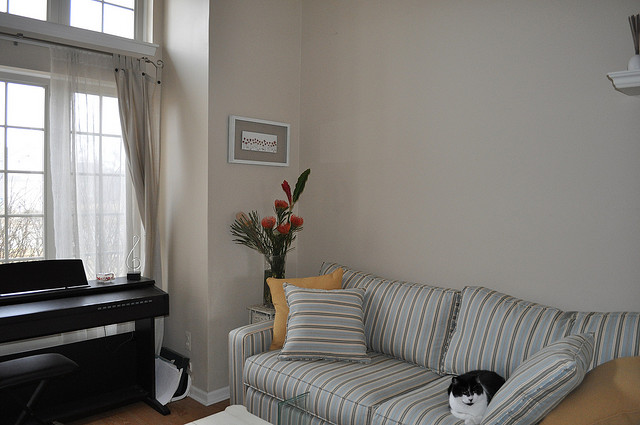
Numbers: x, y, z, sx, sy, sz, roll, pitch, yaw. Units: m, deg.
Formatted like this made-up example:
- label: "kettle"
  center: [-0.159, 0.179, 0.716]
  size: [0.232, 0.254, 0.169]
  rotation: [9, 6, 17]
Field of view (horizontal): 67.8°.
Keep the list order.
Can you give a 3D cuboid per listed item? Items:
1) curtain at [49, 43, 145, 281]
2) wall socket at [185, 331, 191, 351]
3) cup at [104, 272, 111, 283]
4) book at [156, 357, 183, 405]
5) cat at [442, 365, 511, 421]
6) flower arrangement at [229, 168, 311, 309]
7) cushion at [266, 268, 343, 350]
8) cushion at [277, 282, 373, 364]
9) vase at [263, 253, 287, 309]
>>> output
- label: "curtain"
  center: [-1.972, -0.430, 4.203]
  size: [0.715, 2.023, 0.205]
  rotation: [-5, 7, -31]
- label: "wall socket"
  center: [-1.192, 1.155, 4.323]
  size: [0.023, 0.152, 0.086]
  rotation: [-7, 8, -44]
- label: "cup"
  center: [-1.821, 0.561, 4.104]
  size: [0.050, 0.061, 0.101]
  rotation: [-3, 5, -22]
- label: "book"
  center: [-1.392, 1.479, 4.242]
  size: [0.383, 0.256, 0.229]
  rotation: [3, 7, 42]
- label: "cat"
  center: [0.976, 1.098, 3.003]
  size: [0.409, 0.245, 0.482]
  rotation: [1, 5, 21]
- label: "flower arrangement"
  center: [-0.445, 0.243, 4.190]
  size: [0.632, 1.180, 0.586]
  rotation: [1, -1, 22]
- label: "cushion"
  center: [-0.101, 0.746, 3.615]
  size: [0.502, 0.475, 0.198]
  rotation: [-7, -30, -14]
- label: "cushion"
  center: [0.041, 0.841, 3.532]
  size: [0.484, 0.442, 0.183]
  rotation: [4, -37, -3]
- label: "vase"
  center: [-0.379, 0.580, 4.153]
  size: [0.205, 0.520, 0.207]
  rotation: [3, -5, -8]
